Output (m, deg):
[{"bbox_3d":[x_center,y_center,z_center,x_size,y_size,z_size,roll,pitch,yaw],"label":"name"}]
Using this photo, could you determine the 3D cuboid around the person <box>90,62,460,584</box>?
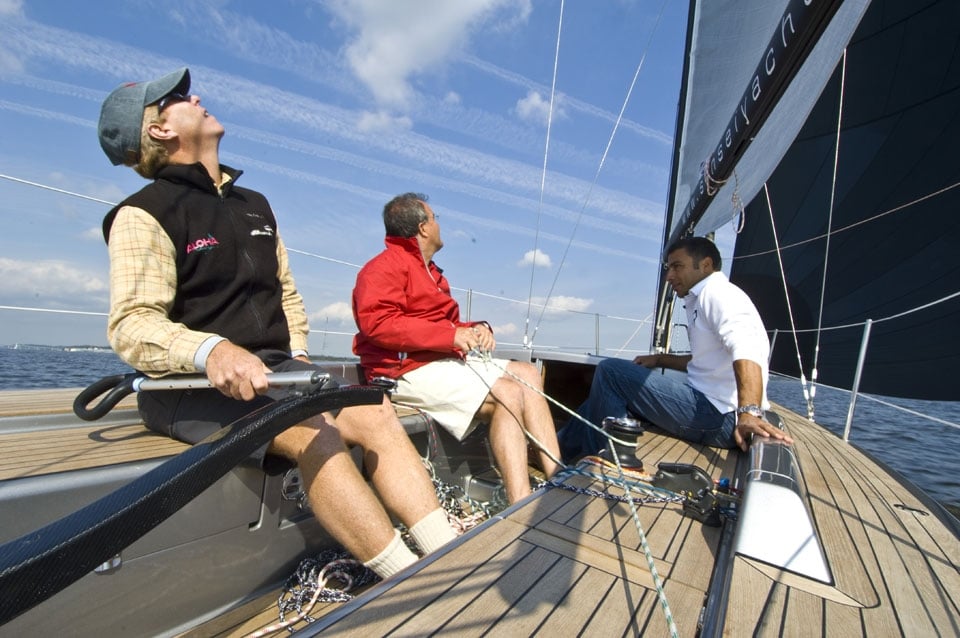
[{"bbox_3d":[-0.777,-0.055,1.787,1.178,1.681,0.673,1,-2,27],"label":"person"}]
